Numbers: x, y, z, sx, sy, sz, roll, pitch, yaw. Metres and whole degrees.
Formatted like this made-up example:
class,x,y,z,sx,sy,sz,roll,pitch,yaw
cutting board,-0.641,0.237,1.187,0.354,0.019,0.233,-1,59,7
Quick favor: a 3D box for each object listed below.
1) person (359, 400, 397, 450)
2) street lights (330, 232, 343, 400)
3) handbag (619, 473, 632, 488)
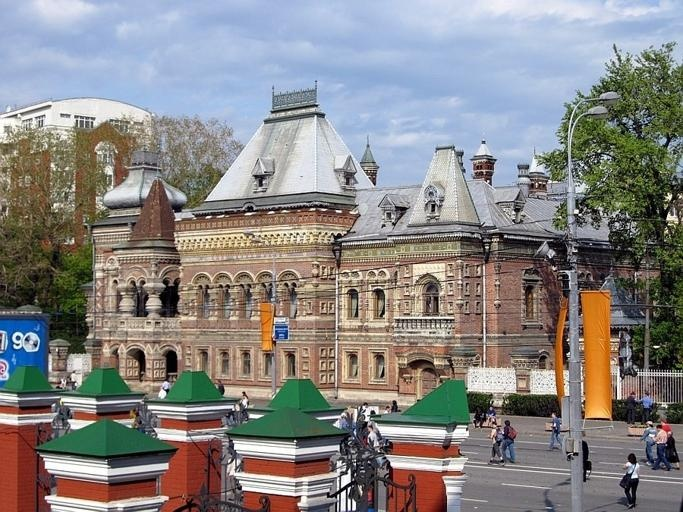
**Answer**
class,x,y,z,sx,sy,sz,roll,pitch,yaw
person,0.931,6.161,47.977,1.209,2.023,1.162,-2,-6,-41
street lights,-0.342,3.088,78.466,0.943,8.461,0.686,-4,-5,23
handbag,9.448,7.566,49.623,0.396,0.481,0.434,-2,-4,-5
